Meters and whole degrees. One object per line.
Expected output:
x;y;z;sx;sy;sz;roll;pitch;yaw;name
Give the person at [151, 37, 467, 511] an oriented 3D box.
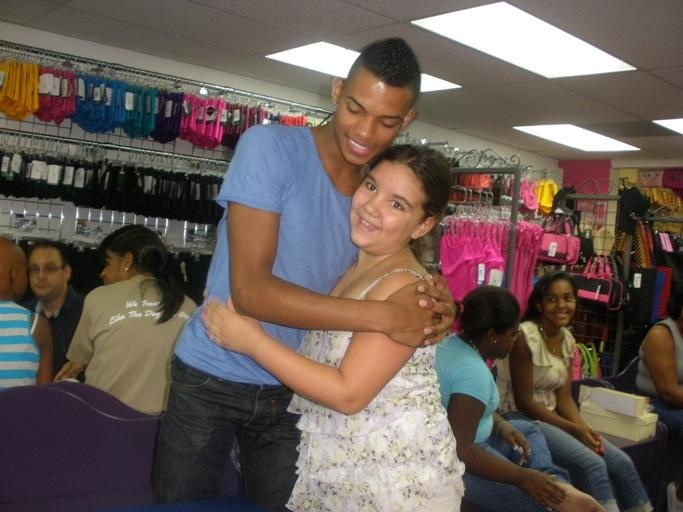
-0.125;0.064;1.621;0.885;1.690;0.524;4;5;-21;person
